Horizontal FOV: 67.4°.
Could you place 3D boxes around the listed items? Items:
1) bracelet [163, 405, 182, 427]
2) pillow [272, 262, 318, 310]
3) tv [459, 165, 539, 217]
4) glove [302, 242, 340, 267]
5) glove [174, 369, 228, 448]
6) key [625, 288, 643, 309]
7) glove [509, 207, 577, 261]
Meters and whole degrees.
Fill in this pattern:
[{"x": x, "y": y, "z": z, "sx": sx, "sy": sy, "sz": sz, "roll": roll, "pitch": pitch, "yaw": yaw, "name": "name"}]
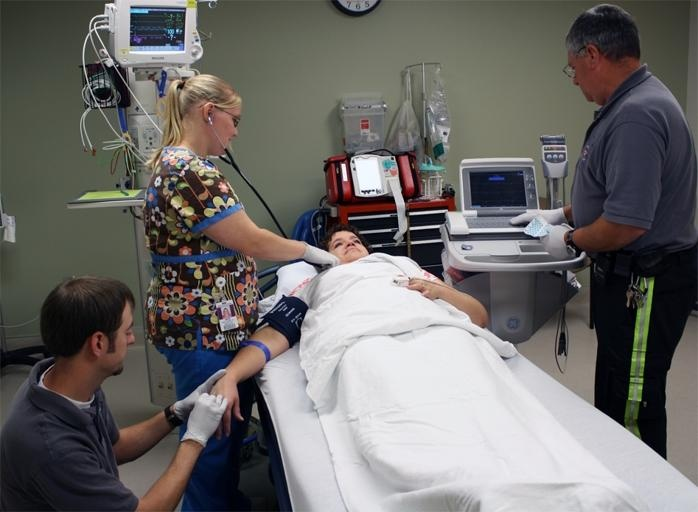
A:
[{"x": -0.674, "y": 0.605, "z": 2.012, "sx": 0.063, "sy": 0.086, "sz": 0.033, "roll": 3, "pitch": 14, "yaw": 42, "name": "bracelet"}, {"x": -0.303, "y": 0.151, "z": 2.900, "sx": 0.189, "sy": 0.079, "sz": 0.256, "roll": -9, "pitch": 36, "yaw": 0, "name": "pillow"}, {"x": 0.826, "y": -0.353, "z": 2.904, "sx": 0.286, "sy": 0.223, "sz": 0.050, "roll": -1, "pitch": -16, "yaw": -2, "name": "tv"}, {"x": -0.131, "y": 0.001, "z": 2.459, "sx": 0.155, "sy": 0.043, "sz": 0.087, "roll": 21, "pitch": 23, "yaw": -48, "name": "glove"}, {"x": -0.543, "y": 0.558, "z": 1.939, "sx": 0.227, "sy": 0.074, "sz": 0.233, "roll": -3, "pitch": 30, "yaw": -6, "name": "glove"}, {"x": 1.183, "y": 0.174, "z": 2.163, "sx": 0.025, "sy": 0.080, "sz": 0.057, "roll": 11, "pitch": 22, "yaw": 11, "name": "key"}, {"x": 0.983, "y": -0.138, "z": 2.600, "sx": 0.197, "sy": 0.093, "sz": 0.287, "roll": -10, "pitch": 29, "yaw": 8, "name": "glove"}]
